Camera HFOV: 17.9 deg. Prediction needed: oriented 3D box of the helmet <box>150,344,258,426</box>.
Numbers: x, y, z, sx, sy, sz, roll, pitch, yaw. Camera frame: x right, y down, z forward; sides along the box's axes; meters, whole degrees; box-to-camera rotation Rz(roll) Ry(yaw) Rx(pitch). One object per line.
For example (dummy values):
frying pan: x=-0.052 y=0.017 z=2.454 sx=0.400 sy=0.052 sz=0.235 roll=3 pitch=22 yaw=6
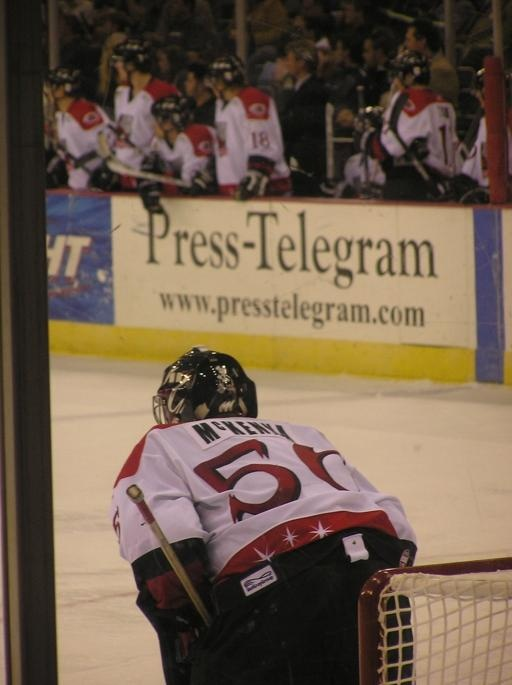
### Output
helmet: x=-0.134 y=0.153 z=4.541 sx=0.297 sy=0.260 sz=0.251 roll=-5 pitch=-15 yaw=9

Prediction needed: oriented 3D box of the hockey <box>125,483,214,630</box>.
hockey: x=-0.205 y=0.513 z=3.912 sx=0.064 sy=0.086 sz=0.803 roll=28 pitch=-23 yaw=27

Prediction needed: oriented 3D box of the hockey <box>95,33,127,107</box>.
hockey: x=-0.430 y=-0.775 z=4.579 sx=0.053 sy=0.160 sz=0.119 roll=10 pitch=17 yaw=17

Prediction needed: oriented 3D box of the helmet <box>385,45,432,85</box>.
helmet: x=0.431 y=-0.778 z=4.597 sx=0.108 sy=0.105 sz=0.087 roll=27 pitch=49 yaw=23

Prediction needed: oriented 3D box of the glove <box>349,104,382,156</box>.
glove: x=0.314 y=-0.603 z=4.573 sx=0.091 sy=0.127 sz=0.037 roll=-1 pitch=3 yaw=-3

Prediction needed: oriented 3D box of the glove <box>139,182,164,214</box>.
glove: x=-0.285 y=-0.411 z=4.572 sx=0.065 sy=0.086 sz=0.034 roll=-9 pitch=-9 yaw=-10

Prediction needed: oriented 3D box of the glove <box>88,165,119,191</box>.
glove: x=-0.423 y=-0.462 z=4.575 sx=0.058 sy=0.072 sz=0.026 roll=-7 pitch=-5 yaw=-8
